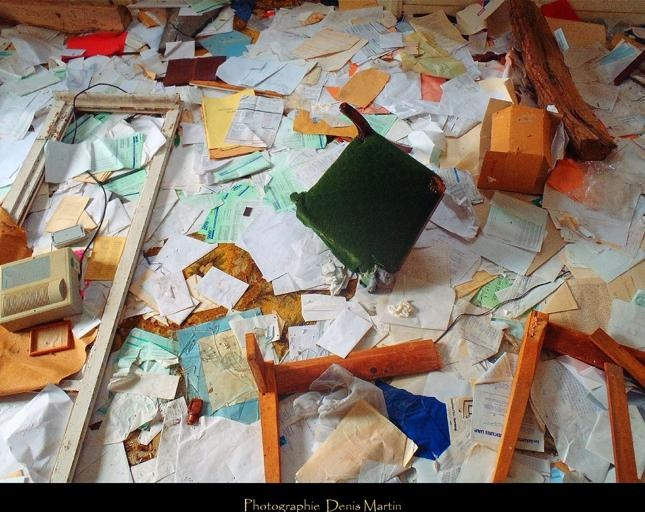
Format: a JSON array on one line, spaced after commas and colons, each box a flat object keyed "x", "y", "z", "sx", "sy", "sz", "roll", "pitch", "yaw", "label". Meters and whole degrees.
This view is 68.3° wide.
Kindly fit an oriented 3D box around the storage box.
[{"x": 1.050, "y": -0.597, "z": 2.772, "sx": 0.540, "sy": 0.501, "sz": 0.359, "roll": 7, "pitch": 34, "yaw": 2, "label": "storage box"}]
